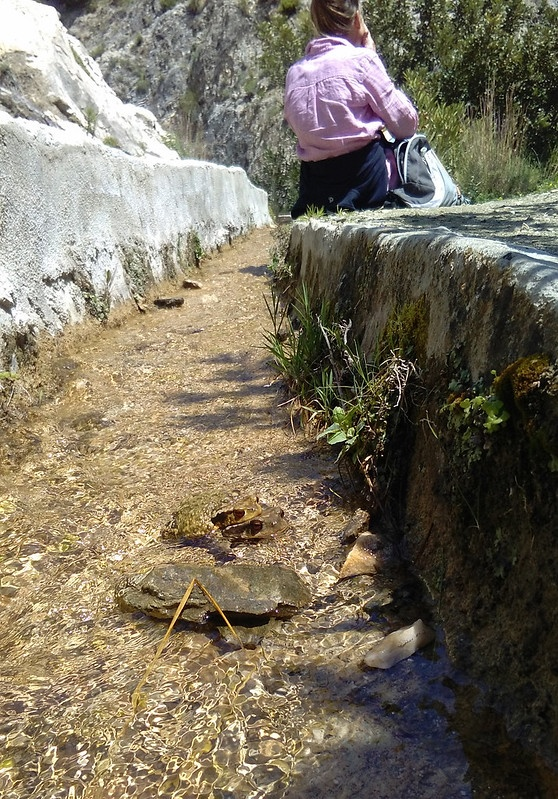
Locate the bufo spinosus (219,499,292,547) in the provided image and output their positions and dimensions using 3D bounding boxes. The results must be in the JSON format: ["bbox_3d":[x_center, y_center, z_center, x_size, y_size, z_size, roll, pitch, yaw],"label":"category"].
[{"bbox_3d":[-0.060,0.361,2.415,0.145,0.049,0.115,0,23,27],"label":"bufo spinosus"}]

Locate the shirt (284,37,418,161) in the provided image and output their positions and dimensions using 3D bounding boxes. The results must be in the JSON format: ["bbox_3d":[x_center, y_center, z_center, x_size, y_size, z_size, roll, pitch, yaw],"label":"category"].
[{"bbox_3d":[0.371,-1.642,4.466,0.667,0.632,0.371,-8,17,8],"label":"shirt"}]

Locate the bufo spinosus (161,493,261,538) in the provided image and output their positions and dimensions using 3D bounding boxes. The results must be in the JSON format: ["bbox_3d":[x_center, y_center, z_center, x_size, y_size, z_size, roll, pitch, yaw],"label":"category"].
[{"bbox_3d":[-0.197,0.348,2.482,0.193,0.053,0.166,-2,16,25],"label":"bufo spinosus"}]
